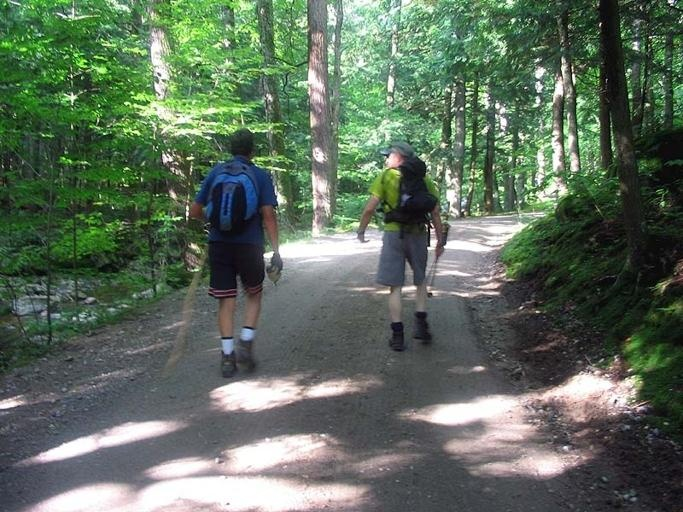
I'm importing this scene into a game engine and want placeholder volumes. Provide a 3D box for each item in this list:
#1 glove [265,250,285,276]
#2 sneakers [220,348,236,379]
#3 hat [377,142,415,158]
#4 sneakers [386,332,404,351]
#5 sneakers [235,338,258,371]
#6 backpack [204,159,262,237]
[{"bbox_3d":[-0.805,0.082,7.516,0.108,0.260,0.218,-1,21,-12],"label":"glove"},{"bbox_3d":[-1.332,1.258,7.283,0.182,0.287,0.234,-1,9,-8],"label":"sneakers"},{"bbox_3d":[0.744,-1.375,7.958,0.553,0.215,0.315,10,9,6],"label":"hat"},{"bbox_3d":[0.669,1.090,7.759,0.156,0.161,0.269,3,6,6],"label":"sneakers"},{"bbox_3d":[-1.133,1.172,7.346,0.193,0.409,0.196,-17,39,10],"label":"sneakers"},{"bbox_3d":[-1.276,-0.688,7.225,0.608,0.872,0.374,-1,10,-8],"label":"backpack"}]
